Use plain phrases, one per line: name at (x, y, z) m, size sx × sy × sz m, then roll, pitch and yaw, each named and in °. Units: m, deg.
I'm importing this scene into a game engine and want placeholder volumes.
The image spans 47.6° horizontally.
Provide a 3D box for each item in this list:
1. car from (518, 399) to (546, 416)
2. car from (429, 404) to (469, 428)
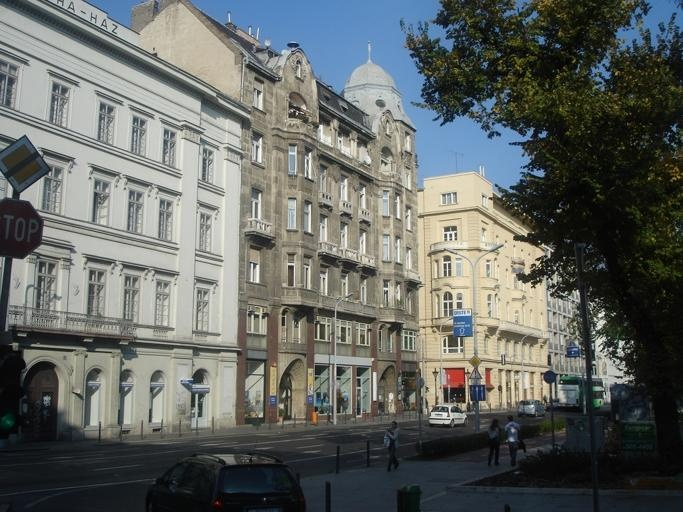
car at (19.038, 15.225, 77.671) m, size 1.500 × 1.161 × 2.906 m, roll -3°, pitch -6°, yaw 29°
car at (8.152, 12.138, 59.102) m, size 1.428 × 1.302 × 2.474 m, roll -4°, pitch -8°, yaw 35°
